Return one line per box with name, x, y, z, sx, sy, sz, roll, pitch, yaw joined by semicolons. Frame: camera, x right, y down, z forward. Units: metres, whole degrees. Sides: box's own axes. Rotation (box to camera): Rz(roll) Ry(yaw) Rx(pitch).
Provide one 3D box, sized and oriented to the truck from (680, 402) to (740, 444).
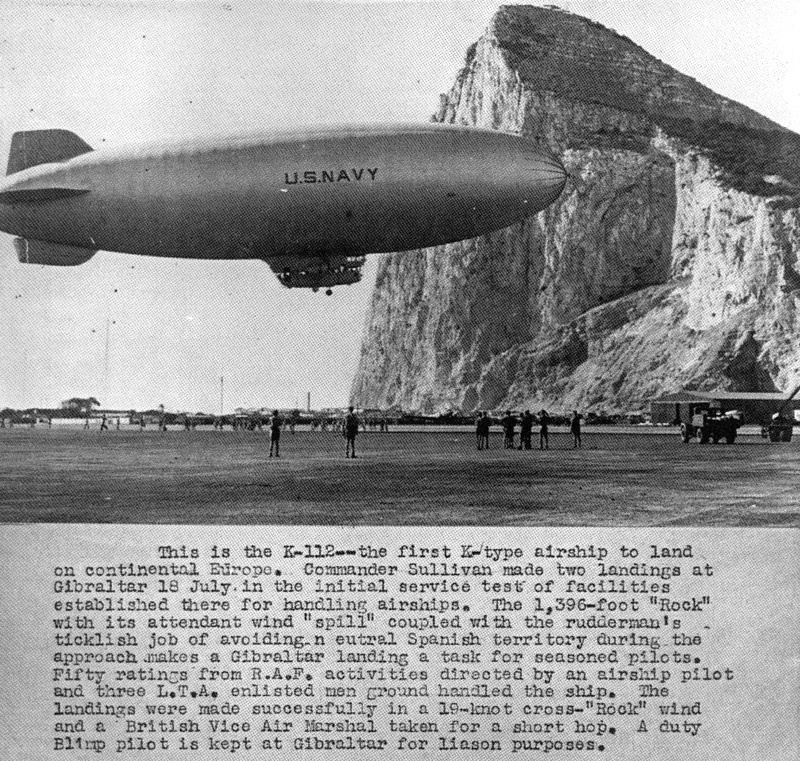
truck;9.507;1.294;64.157;0.947;0.994;1.838;1;1;-1
